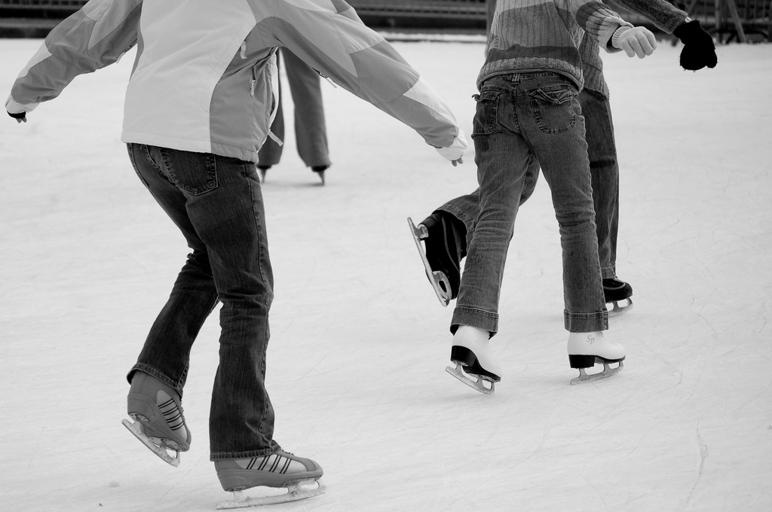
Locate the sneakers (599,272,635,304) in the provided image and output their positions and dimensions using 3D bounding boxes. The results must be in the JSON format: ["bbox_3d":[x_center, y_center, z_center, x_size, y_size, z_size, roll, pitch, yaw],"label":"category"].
[{"bbox_3d":[0.921,0.137,4.126,0.069,0.094,0.205,-4,4,-15],"label":"sneakers"}]

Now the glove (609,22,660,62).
[{"bbox_3d":[0.867,-0.710,3.475,0.159,0.136,0.255,-7,20,-2],"label":"glove"}]

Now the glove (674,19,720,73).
[{"bbox_3d":[1.032,-0.700,3.436,0.132,0.177,0.072,-37,0,6],"label":"glove"}]

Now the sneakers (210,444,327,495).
[{"bbox_3d":[-0.349,0.621,3.077,0.338,0.173,0.124,-7,0,-13],"label":"sneakers"}]

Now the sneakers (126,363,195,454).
[{"bbox_3d":[-0.697,0.492,3.180,0.119,0.339,0.195,0,56,16],"label":"sneakers"}]

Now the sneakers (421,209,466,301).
[{"bbox_3d":[0.228,-0.020,3.876,0.132,0.406,0.175,-12,0,27],"label":"sneakers"}]
